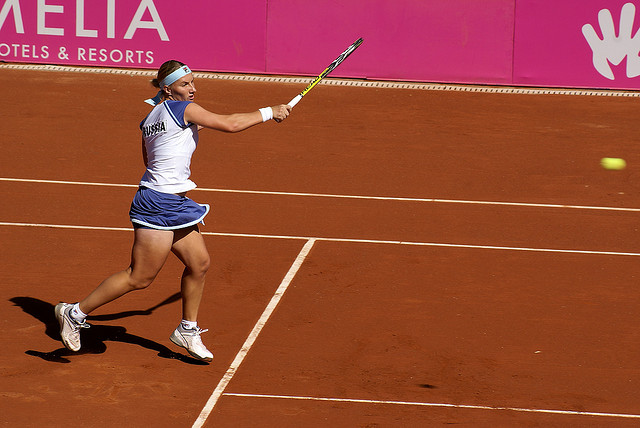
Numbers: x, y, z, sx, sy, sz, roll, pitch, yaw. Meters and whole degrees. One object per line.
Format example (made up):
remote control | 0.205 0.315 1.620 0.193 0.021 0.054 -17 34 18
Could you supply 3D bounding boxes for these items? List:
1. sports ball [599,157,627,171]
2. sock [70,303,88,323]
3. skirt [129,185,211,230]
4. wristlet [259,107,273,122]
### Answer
sports ball | 4.715 -0.802 12.678 0.457 0.172 0.188 3 -24 0
sock | -2.360 0.982 7.842 0.147 0.127 0.155 -15 35 -1
skirt | -1.516 -0.062 7.853 0.855 0.392 0.532 3 9 -19
wristlet | -0.529 -1.005 7.949 0.124 0.132 0.257 7 15 6
